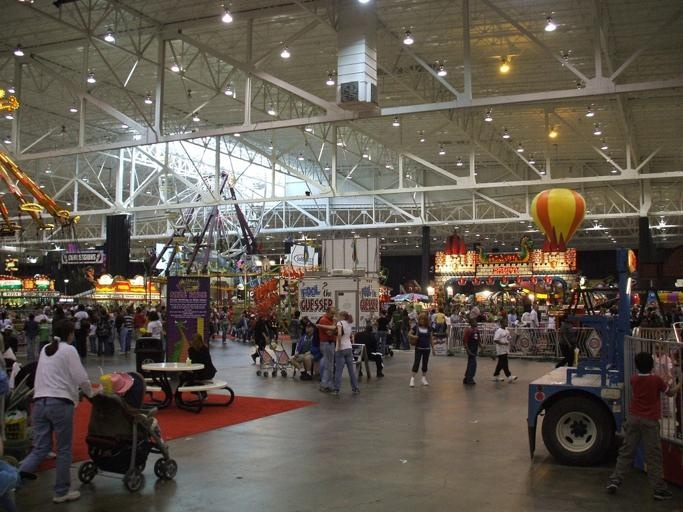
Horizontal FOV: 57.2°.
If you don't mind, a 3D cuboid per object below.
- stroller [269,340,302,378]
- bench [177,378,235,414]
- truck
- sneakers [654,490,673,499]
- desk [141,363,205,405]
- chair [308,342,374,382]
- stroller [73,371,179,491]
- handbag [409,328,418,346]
[{"bbox_3d":[-1.623,3.004,17.783,0.867,1.243,1.358,5,-12,-28],"label":"stroller"},{"bbox_3d":[-2.787,2.737,12.018,0.816,0.279,0.833,-2,-3,27],"label":"bench"},{"bbox_3d":[4.151,1.615,10.308,2.286,4.379,3.393,-2,-5,26],"label":"truck"},{"bbox_3d":[3.650,2.688,7.073,0.220,0.115,0.079,-1,-1,-21],"label":"sneakers"},{"bbox_3d":[-3.301,2.242,11.640,1.212,0.805,1.240,2,-5,14],"label":"desk"},{"bbox_3d":[0.406,2.900,17.209,1.141,0.858,1.052,-4,-13,17],"label":"chair"},{"bbox_3d":[-2.920,2.140,8.112,1.146,1.851,1.319,-2,-2,34],"label":"stroller"},{"bbox_3d":[1.671,1.903,14.695,0.272,0.309,0.342,0,-13,4],"label":"handbag"}]
